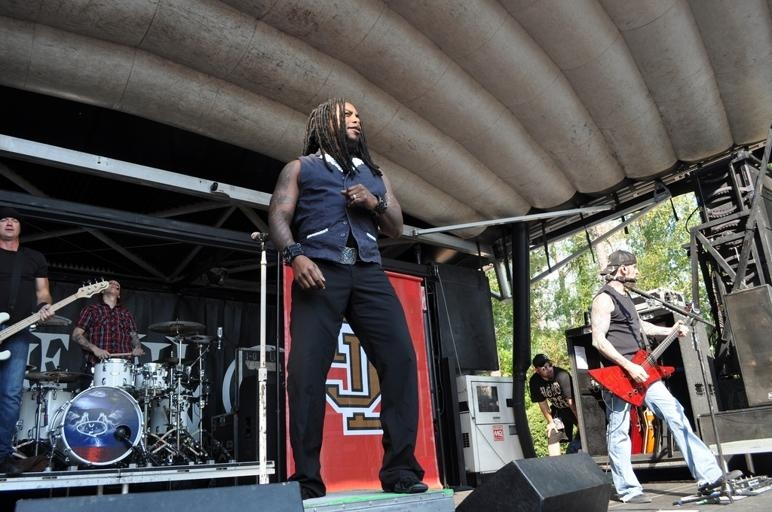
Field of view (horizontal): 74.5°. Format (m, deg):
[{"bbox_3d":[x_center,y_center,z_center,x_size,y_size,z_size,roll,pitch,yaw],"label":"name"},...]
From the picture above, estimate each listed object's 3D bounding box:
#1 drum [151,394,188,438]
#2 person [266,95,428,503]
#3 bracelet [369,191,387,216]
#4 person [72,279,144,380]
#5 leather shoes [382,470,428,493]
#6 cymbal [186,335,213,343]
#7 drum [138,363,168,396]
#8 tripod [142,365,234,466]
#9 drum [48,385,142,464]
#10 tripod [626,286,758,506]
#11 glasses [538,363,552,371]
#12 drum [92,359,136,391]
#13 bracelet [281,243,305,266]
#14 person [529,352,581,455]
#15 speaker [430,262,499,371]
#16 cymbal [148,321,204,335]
[{"bbox_3d":[-3.104,2.330,7.466,0.553,0.557,0.568,-7,-24,10],"label":"drum"},{"bbox_3d":[-0.267,0.166,3.179,0.929,2.451,0.349,6,-21,-25],"label":"person"},{"bbox_3d":[-0.043,-0.337,3.241,0.058,0.131,0.097,-7,0,16],"label":"bracelet"},{"bbox_3d":[-3.960,1.079,7.367,0.802,1.631,0.822,-4,-10,38],"label":"person"},{"bbox_3d":[0.103,1.304,2.939,0.262,0.100,0.103,-16,-26,30],"label":"leather shoes"},{"bbox_3d":[-3.035,1.370,8.431,0.402,0.085,0.428,-8,-20,13],"label":"cymbal"},{"bbox_3d":[-3.244,1.722,7.120,0.406,0.402,0.383,8,-13,-43],"label":"drum"},{"bbox_3d":[-3.046,2.382,7.692,1.149,1.483,0.984,4,-6,-34],"label":"tripod"},{"bbox_3d":[-3.417,1.970,6.225,1.020,0.930,0.878,10,-7,5],"label":"drum"},{"bbox_3d":[3.113,1.457,4.913,1.280,2.322,1.264,-1,-5,19],"label":"tripod"},{"bbox_3d":[2.444,1.687,7.739,0.116,0.055,0.152,-4,-30,-8],"label":"glasses"},{"bbox_3d":[-3.637,1.528,6.797,0.490,0.377,0.507,-2,-11,0],"label":"drum"},{"bbox_3d":[-0.541,-0.035,2.988,0.142,0.136,0.095,-5,17,-22],"label":"bracelet"},{"bbox_3d":[2.569,2.235,7.832,0.626,1.459,0.827,-7,-19,14],"label":"person"},{"bbox_3d":[1.396,1.054,8.732,0.401,1.803,1.413,-17,-23,36],"label":"speaker"},{"bbox_3d":[-3.371,1.161,8.192,0.357,0.087,0.366,-5,-15,10],"label":"cymbal"}]
